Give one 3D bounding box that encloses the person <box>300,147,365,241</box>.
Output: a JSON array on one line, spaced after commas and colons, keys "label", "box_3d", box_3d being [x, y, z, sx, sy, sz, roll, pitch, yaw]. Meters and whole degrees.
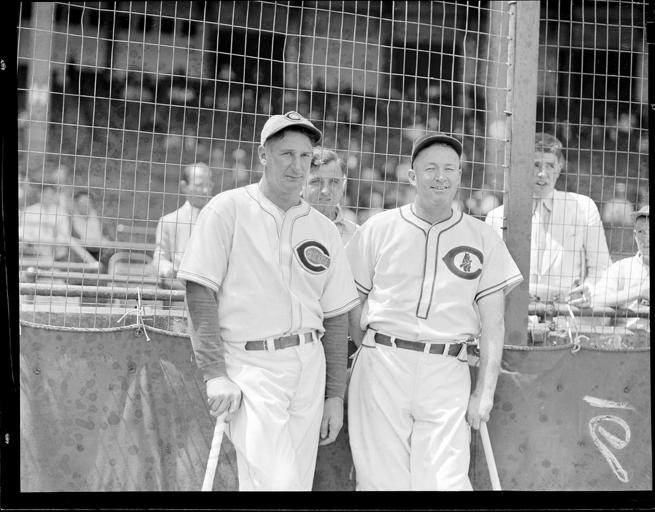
[{"label": "person", "box_3d": [0.010, -0.399, 8.044, 0.458, 0.799, 0.385, 4, -8, -8]}]
